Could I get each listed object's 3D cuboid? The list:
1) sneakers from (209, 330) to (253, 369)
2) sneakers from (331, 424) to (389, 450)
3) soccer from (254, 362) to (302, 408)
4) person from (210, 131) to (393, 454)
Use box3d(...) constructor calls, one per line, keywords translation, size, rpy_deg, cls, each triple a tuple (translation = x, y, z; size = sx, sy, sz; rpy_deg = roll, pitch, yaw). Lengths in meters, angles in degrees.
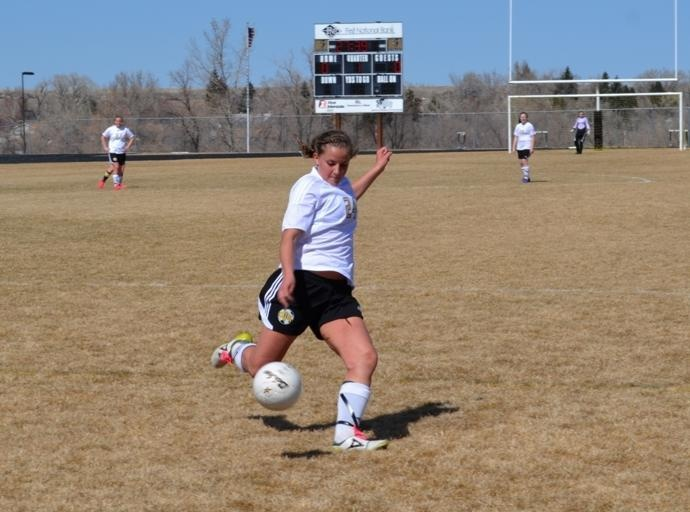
box3d(translation=(-1.026, 0.856, 9.350), size=(0.411, 0.141, 0.172), rpy_deg=(-44, 8, -35), cls="sneakers")
box3d(translation=(0.164, 1.484, 8.429), size=(0.545, 0.264, 0.194), rpy_deg=(-3, 0, -1), cls="sneakers")
box3d(translation=(-0.552, 1.053, 8.454), size=(0.413, 0.374, 0.342), rpy_deg=(4, -25, -25), cls="soccer")
box3d(translation=(-0.286, 0.282, 8.422), size=(1.142, 2.557, 0.743), rpy_deg=(-2, 10, -3), cls="person")
